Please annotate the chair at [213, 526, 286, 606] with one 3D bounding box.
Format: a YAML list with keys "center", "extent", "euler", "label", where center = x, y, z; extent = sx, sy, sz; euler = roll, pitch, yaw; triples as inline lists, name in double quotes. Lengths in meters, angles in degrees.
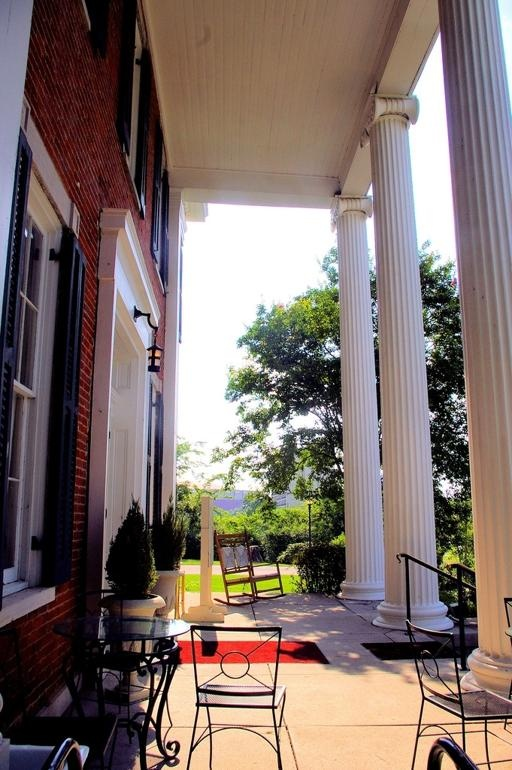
- center: [-0.119, 3.212, 9.200]
  extent: [0.924, 1.412, 1.158]
  euler: [-6, -19, -6]
  label: "chair"
